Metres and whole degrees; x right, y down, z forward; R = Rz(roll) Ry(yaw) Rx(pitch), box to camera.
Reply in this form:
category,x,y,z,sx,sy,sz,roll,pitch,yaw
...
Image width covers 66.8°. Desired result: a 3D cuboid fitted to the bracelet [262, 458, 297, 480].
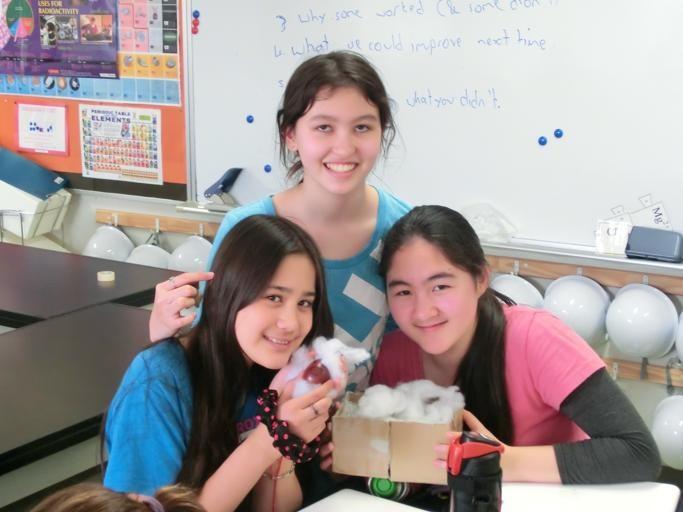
category,x,y,z,sx,sy,sz,roll,pitch,yaw
bracelet,-0.149,0.506,1.234,0.071,0.063,0.040,3,1,-11

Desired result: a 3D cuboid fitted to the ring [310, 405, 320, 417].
category,x,y,z,sx,sy,sz,roll,pitch,yaw
ring,-0.057,0.338,1.131,0.018,0.018,0.019,-20,-30,-12

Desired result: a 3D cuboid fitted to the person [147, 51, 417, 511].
category,x,y,z,sx,sy,sz,roll,pitch,yaw
person,-0.085,0.398,1.792,0.869,2.036,0.636,-6,22,-15

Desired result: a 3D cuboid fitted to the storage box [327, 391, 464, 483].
category,x,y,z,sx,sy,sz,roll,pitch,yaw
storage box,0.098,0.419,1.120,0.214,0.113,0.161,2,5,13

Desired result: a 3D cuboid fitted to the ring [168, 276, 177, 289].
category,x,y,z,sx,sy,sz,roll,pitch,yaw
ring,-0.434,0.070,1.350,0.027,0.033,0.027,-2,-1,0
